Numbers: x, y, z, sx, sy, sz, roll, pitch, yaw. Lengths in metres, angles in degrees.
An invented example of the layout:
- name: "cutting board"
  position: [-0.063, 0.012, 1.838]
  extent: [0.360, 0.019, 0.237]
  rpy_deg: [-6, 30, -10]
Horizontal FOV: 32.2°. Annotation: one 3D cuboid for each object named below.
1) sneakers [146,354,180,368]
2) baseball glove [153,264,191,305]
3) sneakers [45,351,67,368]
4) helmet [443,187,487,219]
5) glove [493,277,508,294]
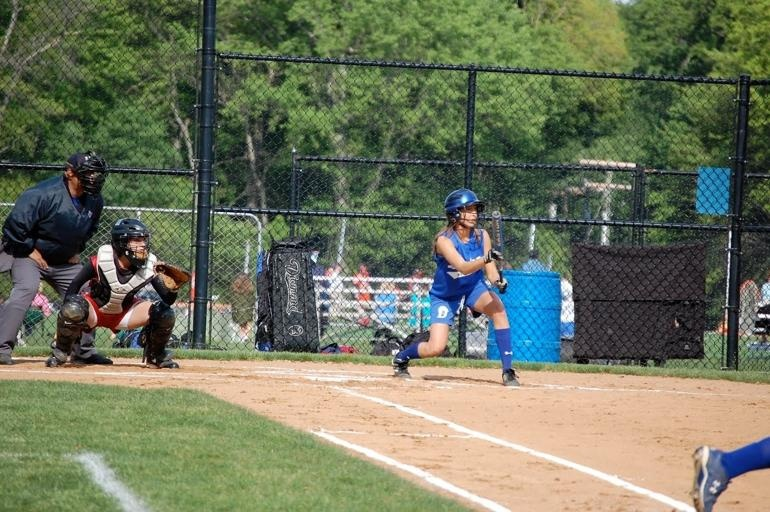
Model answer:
- name: "sneakers"
  position: [-3.935, 1.814, 23.514]
  extent: [0.610, 0.265, 0.240]
  rpy_deg: [-2, 1, 9]
- name: "baseball glove"
  position: [-3.690, 0.409, 23.172]
  extent: [0.520, 0.702, 0.273]
  rpy_deg: [11, 11, -1]
- name: "sneakers"
  position: [-5.696, 1.788, 23.115]
  extent: [0.208, 0.177, 0.365]
  rpy_deg: [-1, -7, -5]
- name: "helmet"
  position: [1.407, -0.955, 23.405]
  extent: [0.593, 0.505, 0.473]
  rpy_deg: [5, 3, 15]
- name: "glove"
  position: [2.067, 0.504, 23.139]
  extent: [0.261, 0.254, 0.211]
  rpy_deg: [12, -11, -28]
